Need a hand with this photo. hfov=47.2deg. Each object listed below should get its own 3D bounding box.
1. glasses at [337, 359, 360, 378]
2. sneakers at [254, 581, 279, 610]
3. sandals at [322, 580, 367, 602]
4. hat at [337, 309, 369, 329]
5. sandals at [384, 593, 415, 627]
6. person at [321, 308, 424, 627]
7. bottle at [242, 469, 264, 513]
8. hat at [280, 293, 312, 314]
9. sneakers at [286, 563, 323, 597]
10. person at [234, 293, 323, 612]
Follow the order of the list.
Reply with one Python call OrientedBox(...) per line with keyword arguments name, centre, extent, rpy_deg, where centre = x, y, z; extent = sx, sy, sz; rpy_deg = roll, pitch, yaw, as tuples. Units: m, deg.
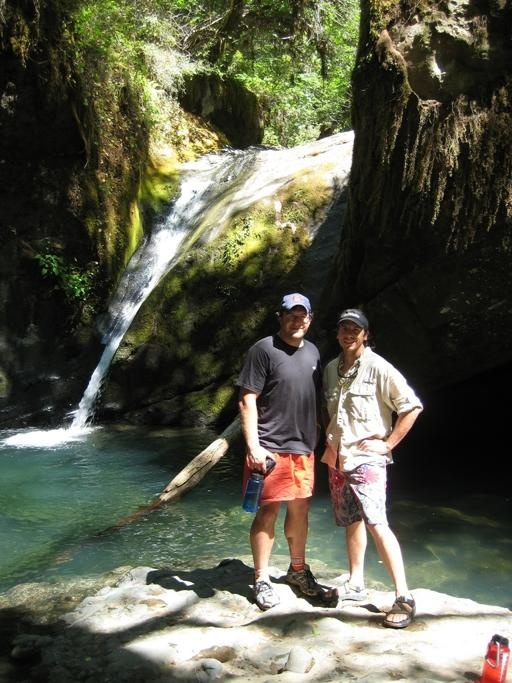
OrientedBox(name="glasses", centre=(0.532, 0.174, 3.377), extent=(0.029, 0.105, 0.102), rpy_deg=(41, -38, -25))
OrientedBox(name="sneakers", centre=(0.049, 1.419, 3.304), extent=(0.098, 0.070, 0.169), rpy_deg=(-19, 30, -16))
OrientedBox(name="sandals", centre=(0.504, 1.437, 3.405), extent=(0.275, 0.113, 0.105), rpy_deg=(1, 2, 3))
OrientedBox(name="hat", centre=(0.581, -0.115, 3.395), extent=(0.181, 0.117, 0.279), rpy_deg=(2, -5, 14))
OrientedBox(name="sandals", centre=(0.746, 1.382, 3.029), extent=(0.086, 0.104, 0.245), rpy_deg=(-2, -5, 21))
OrientedBox(name="person", centre=(0.634, 0.650, 3.330), extent=(0.337, 1.665, 0.618), rpy_deg=(2, -6, -34))
OrientedBox(name="bottle", centre=(-0.014, 0.831, 3.215), extent=(0.112, 0.234, 0.176), rpy_deg=(-1, -5, -1))
OrientedBox(name="hat", centre=(0.229, -0.213, 3.408), extent=(0.126, 0.082, 0.166), rpy_deg=(8, -20, -1))
OrientedBox(name="sneakers", centre=(0.277, 1.423, 3.537), extent=(0.100, 0.116, 0.256), rpy_deg=(-11, 22, -43))
OrientedBox(name="person", centre=(0.148, 0.617, 3.371), extent=(0.373, 1.766, 0.584), rpy_deg=(-6, -7, 42))
